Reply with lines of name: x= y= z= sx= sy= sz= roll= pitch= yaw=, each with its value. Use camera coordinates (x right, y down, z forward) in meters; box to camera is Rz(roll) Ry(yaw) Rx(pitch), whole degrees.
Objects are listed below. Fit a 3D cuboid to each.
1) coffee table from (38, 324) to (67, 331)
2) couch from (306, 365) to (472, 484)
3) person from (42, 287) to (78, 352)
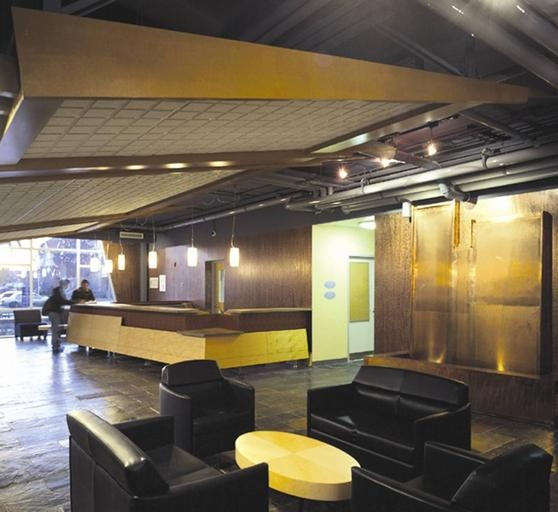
coffee table: x=-5.825 y=1.821 z=12.695 sx=0.721 sy=0.132 sz=0.652 roll=2 pitch=-3 yaw=-20
couch: x=0.969 y=1.507 z=4.549 sx=0.751 sy=0.797 sz=1.387 roll=-6 pitch=-1 yaw=-34
person: x=-5.150 y=1.375 z=11.656 sx=0.596 sy=1.263 sz=1.575 roll=1 pitch=0 yaw=-23
